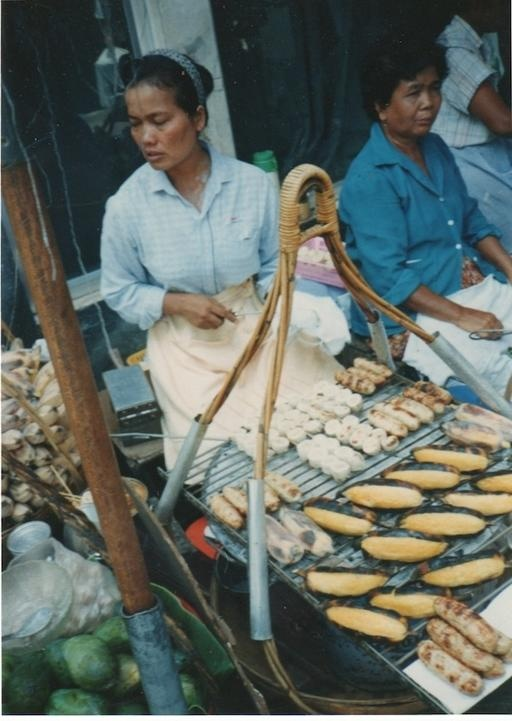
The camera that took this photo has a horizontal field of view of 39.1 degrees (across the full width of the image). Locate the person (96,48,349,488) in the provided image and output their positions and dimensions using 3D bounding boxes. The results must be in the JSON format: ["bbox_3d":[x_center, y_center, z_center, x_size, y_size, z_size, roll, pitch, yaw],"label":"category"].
[{"bbox_3d":[-0.194,-0.292,2.647,0.833,1.524,0.633,-16,28,-24],"label":"person"}]
